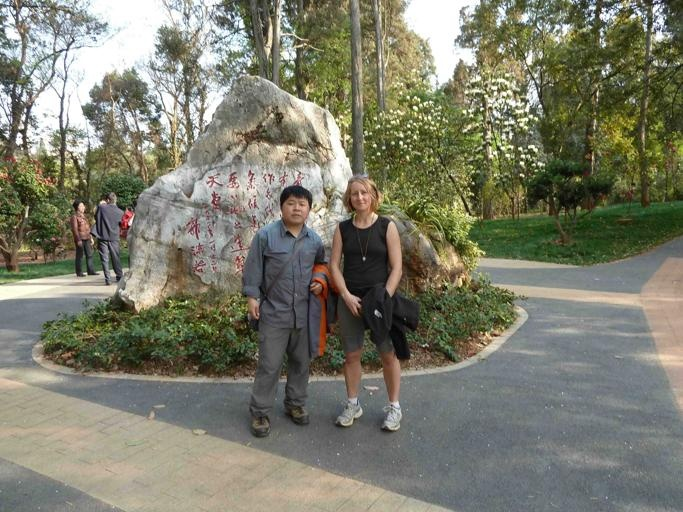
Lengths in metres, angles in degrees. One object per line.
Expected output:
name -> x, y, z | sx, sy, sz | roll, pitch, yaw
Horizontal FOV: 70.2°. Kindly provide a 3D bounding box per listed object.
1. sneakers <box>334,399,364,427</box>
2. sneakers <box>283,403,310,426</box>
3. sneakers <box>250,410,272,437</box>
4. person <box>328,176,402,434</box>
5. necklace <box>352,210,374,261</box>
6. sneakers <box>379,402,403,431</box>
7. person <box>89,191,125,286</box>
sneakers -> 0.081, 1.639, 5.144 | 0.144, 0.189, 0.359 | 1, 3, 28
sneakers -> -0.469, 1.638, 5.114 | 0.141, 0.146, 0.276 | -2, 7, -39
sneakers -> -0.811, 1.684, 4.876 | 0.168, 0.211, 0.150 | -7, 15, -25
person -> 0.234, 0.458, 5.040 | 0.712, 2.514, 0.609 | -1, 12, -1
necklace -> 0.193, -0.138, 4.945 | 0.200, 0.352, 0.083 | 11, 17, 41
sneakers -> 0.505, 1.659, 4.987 | 0.137, 0.169, 0.331 | -1, -5, 16
person -> -5.670, -0.432, 11.880 | 0.658, 2.234, 1.105 | -6, 14, -26
